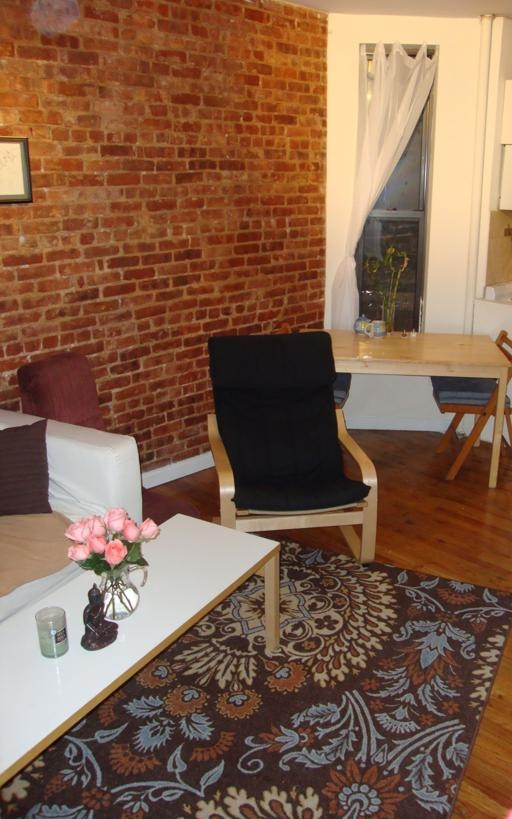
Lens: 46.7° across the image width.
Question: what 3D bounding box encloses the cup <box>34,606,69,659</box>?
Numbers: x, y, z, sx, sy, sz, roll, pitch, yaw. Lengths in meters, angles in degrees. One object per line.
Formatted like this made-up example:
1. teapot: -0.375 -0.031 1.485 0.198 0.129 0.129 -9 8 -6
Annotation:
1. cup: -0.446 0.486 1.310 0.061 0.117 0.075 -4 11 -19

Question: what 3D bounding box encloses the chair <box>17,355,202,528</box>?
1. chair: -0.592 0.185 2.386 0.674 0.718 0.389 11 23 30

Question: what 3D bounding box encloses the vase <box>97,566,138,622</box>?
1. vase: -0.345 0.442 1.452 0.093 0.135 0.095 -1 5 28

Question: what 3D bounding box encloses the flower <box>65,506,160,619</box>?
1. flower: -0.338 0.388 1.400 0.210 0.251 0.226 2 9 2

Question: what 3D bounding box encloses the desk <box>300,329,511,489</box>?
1. desk: 1.011 0.178 3.775 0.837 0.760 1.260 6 20 16

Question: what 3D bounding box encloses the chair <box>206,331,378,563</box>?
1. chair: 0.125 0.174 2.731 0.685 0.928 0.865 -5 17 -9

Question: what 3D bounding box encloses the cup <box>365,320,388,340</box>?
1. cup: 0.778 -0.513 3.856 0.084 0.105 0.126 -4 9 -29
